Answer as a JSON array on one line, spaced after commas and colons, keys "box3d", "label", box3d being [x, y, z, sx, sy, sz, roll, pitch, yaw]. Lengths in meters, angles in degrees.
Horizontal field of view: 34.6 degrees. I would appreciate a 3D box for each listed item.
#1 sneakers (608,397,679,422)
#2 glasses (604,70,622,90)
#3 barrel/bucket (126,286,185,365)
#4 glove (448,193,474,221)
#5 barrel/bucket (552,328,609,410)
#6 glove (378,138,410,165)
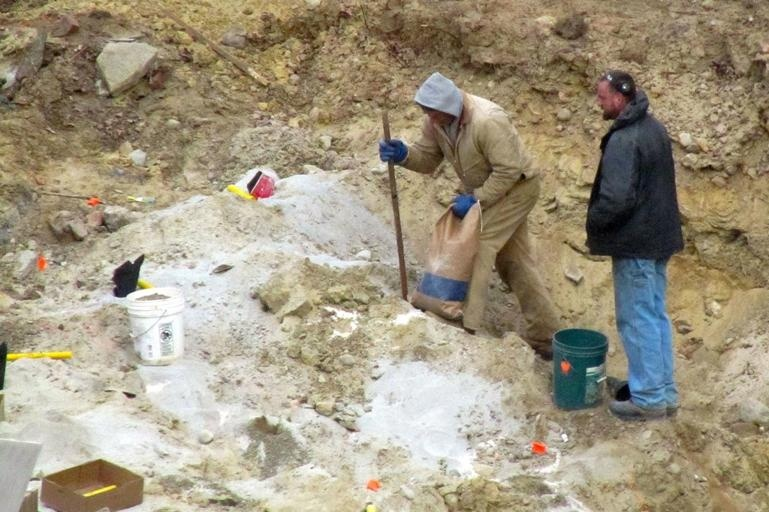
[{"box3d": [2.515, 1.469, 12.071, 0.584, 0.243, 0.265, -2, 96, 20], "label": "sneakers"}, {"box3d": [2.224, -1.712, 12.044, 0.049, 0.134, 0.128, -35, 69, -3], "label": "glasses"}, {"box3d": [-2.248, 0.633, 12.396, 0.668, 0.665, 0.635, -1, 11, 0], "label": "barrel/bucket"}, {"box3d": [0.862, -0.512, 13.081, 0.205, 0.101, 0.264, 15, 92, 21], "label": "glove"}, {"box3d": [1.866, 1.113, 12.473, 0.670, 0.761, 0.717, -2, 26, 1], "label": "barrel/bucket"}, {"box3d": [0.101, -1.113, 13.121, 0.214, 0.310, 0.281, -17, 66, 14], "label": "glove"}]
